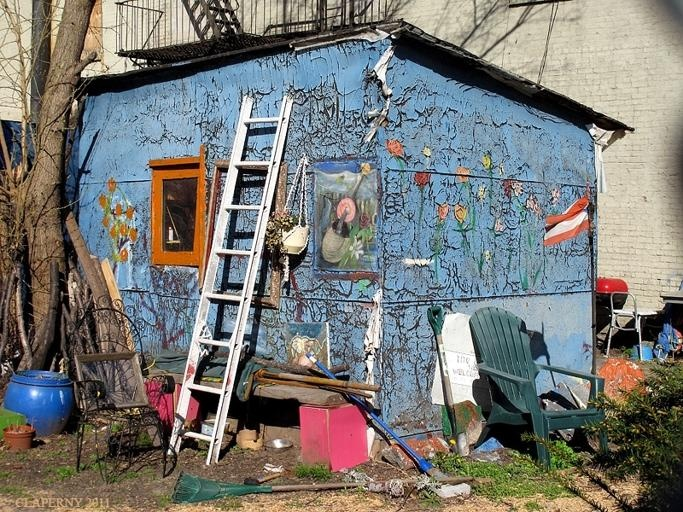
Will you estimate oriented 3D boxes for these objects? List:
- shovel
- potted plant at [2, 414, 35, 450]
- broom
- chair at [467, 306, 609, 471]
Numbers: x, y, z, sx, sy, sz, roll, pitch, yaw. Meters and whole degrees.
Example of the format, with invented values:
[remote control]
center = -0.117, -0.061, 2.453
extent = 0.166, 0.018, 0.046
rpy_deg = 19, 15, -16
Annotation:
[shovel]
center = 1.204, 1.401, 9.004
extent = 0.437, 1.712, 0.376
rpy_deg = 6, 7, 36
[potted plant]
center = -3.640, 1.977, 8.979
extent = 0.329, 0.407, 0.350
rpy_deg = 6, -2, -25
[broom]
center = 0.445, 1.780, 8.691
extent = 1.572, 0.083, 0.265
rpy_deg = 44, -9, 13
[chair]
center = 2.291, 1.356, 9.138
extent = 1.119, 1.620, 1.570
rpy_deg = 0, -2, -27
